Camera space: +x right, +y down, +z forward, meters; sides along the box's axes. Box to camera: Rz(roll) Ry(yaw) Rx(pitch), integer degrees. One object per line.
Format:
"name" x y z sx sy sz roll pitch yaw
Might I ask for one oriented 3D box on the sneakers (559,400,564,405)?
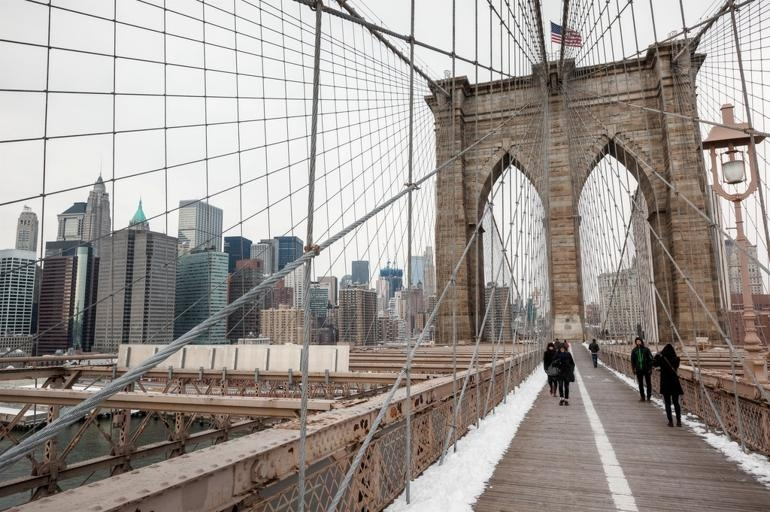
"sneakers" 4.398 3.647 14.269 0.149 0.100 0.148 0 -1 -5

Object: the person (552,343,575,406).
"person" 4.706 3.119 15.189 0.455 1.505 2.049 0 -1 16

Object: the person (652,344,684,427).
"person" 6.277 2.768 12.745 0.524 1.742 1.366 0 -1 27
